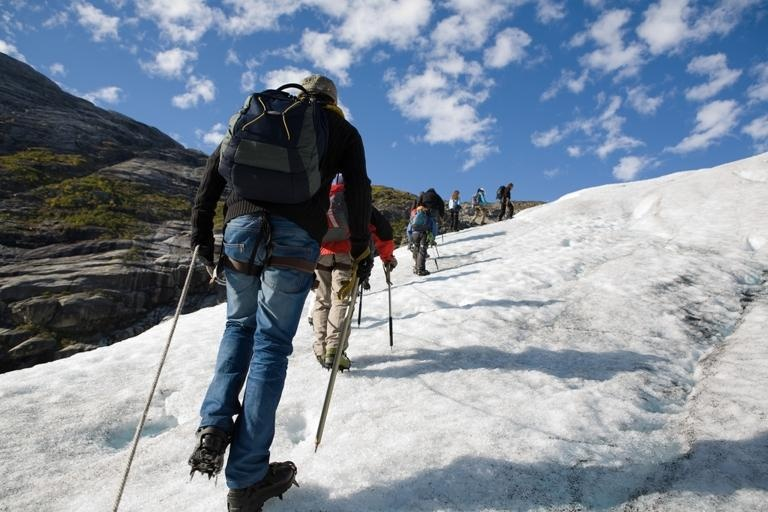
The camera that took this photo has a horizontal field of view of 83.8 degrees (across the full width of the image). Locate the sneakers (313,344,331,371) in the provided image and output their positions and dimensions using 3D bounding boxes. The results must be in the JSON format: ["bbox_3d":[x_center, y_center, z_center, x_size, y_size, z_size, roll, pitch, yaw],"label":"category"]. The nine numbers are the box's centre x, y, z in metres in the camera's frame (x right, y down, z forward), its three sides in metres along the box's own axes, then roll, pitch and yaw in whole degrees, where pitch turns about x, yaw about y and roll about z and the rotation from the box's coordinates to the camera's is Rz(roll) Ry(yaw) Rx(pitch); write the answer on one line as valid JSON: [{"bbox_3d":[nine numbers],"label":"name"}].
[{"bbox_3d":[-0.924,1.577,6.662,0.253,0.374,0.173,-3,3,40],"label":"sneakers"}]

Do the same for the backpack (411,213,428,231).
[{"bbox_3d":[1.112,-1.082,13.743,0.615,0.549,0.415,6,-16,-11],"label":"backpack"}]
